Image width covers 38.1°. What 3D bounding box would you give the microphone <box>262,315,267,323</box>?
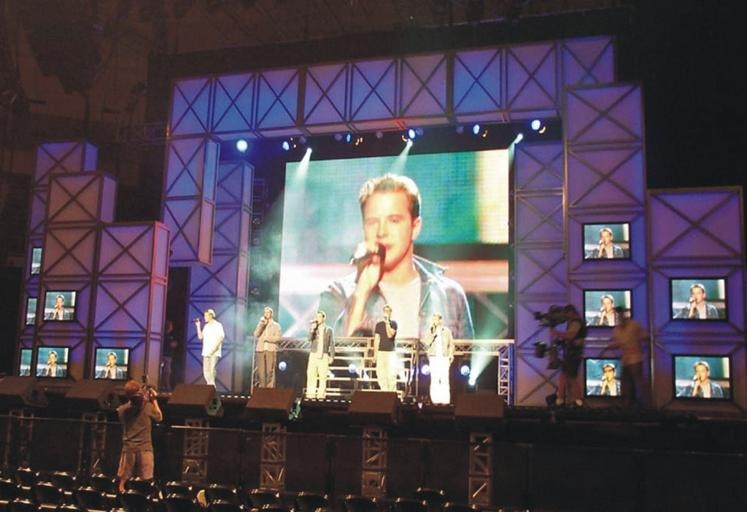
[{"bbox_3d":[-3.131,1.859,31.853,0.161,0.104,0.220,11,-21,21],"label":"microphone"}]

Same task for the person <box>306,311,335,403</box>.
[{"bbox_3d":[-1.450,2.852,30.794,0.720,2.400,1.018,1,-14,-2],"label":"person"}]

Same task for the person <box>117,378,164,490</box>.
[{"bbox_3d":[-5.607,4.156,26.043,0.934,2.257,0.648,4,-14,-14],"label":"person"}]

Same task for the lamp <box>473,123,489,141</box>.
[{"bbox_3d":[3.511,-3.986,35.094,0.223,0.276,0.538,-19,7,-20],"label":"lamp"}]

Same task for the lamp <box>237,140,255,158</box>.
[{"bbox_3d":[-4.371,-3.706,36.893,0.368,0.252,0.434,17,-35,-8],"label":"lamp"}]

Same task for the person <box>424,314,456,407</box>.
[{"bbox_3d":[1.905,2.894,30.548,0.682,2.448,0.719,0,-14,2],"label":"person"}]
